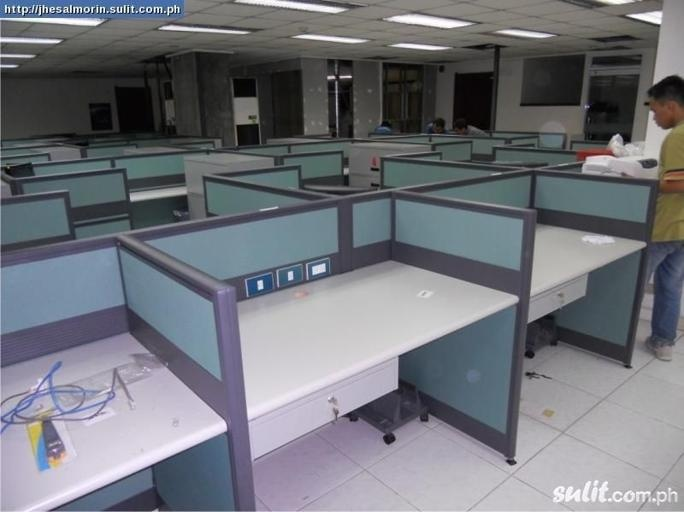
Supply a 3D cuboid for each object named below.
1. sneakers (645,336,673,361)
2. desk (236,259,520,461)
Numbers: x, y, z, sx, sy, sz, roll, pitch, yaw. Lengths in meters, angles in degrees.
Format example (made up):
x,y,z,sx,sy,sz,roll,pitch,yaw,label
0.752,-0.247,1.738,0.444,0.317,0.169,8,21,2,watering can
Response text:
x,y,z,sx,sy,sz,roll,pitch,yaw,label
2.239,0.638,3.335,0.088,0.111,0.256,0,23,7,sneakers
0.056,0.412,2.235,1.321,0.391,0.792,-14,22,-28,desk
